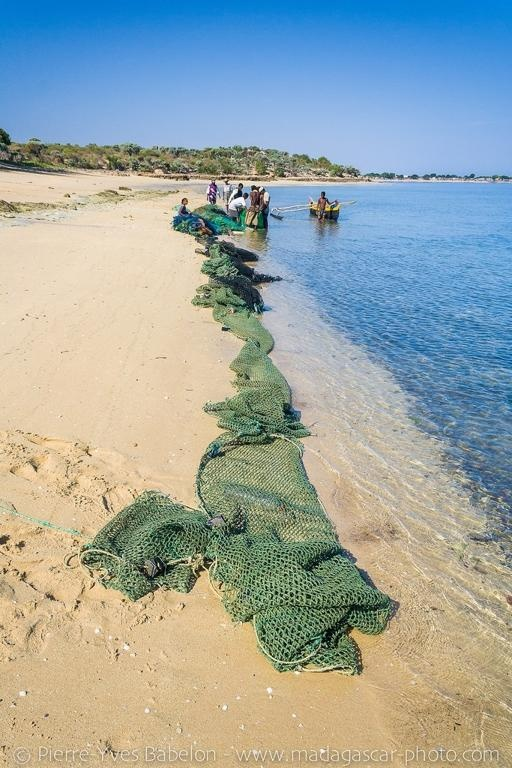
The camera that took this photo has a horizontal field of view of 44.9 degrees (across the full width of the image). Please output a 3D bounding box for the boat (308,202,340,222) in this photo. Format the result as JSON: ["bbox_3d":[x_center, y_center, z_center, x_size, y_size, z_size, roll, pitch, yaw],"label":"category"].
[{"bbox_3d":[3.187,-8.491,29.890,0.640,0.914,2.611,-11,31,-14],"label":"boat"}]

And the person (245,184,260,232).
[{"bbox_3d":[-0.111,-6.954,24.529,0.386,1.515,0.984,-2,22,-14],"label":"person"}]
